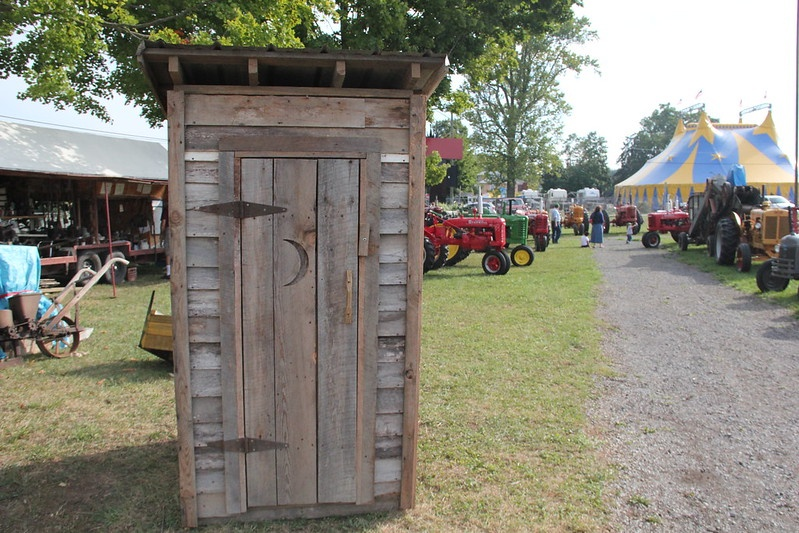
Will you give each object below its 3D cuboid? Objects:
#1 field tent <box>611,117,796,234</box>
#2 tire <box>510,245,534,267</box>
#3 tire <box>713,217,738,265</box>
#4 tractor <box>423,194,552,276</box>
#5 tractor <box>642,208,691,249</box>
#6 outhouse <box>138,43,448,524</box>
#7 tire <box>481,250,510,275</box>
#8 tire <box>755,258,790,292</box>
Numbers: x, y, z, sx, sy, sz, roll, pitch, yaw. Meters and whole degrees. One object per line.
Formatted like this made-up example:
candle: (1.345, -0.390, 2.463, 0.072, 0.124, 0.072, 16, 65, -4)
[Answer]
field tent: (18.350, -6.291, 41.674, 13.434, 6.524, 13.283, -1, 1, 0)
tire: (3.517, -0.306, 18.873, 0.629, 0.628, 0.247, 7, 0, 9)
tire: (8.543, -0.670, 17.160, 0.390, 1.231, 1.235, 2, 6, 22)
tractor: (1.816, -0.917, 18.275, 3.007, 2.066, 1.150, 0, 4, -6)
tractor: (9.571, -1.362, 23.357, 2.048, 0.931, 1.179, 0, 3, 0)
outhouse: (-1.123, 0.360, 7.218, 2.691, 4.903, 0.753, -2, 10, -4)
tire: (2.520, -0.124, 17.203, 0.672, 0.603, 0.434, 1, 10, 8)
tire: (7.721, 0.187, 13.554, 0.650, 0.647, 0.253, 4, 7, -3)
